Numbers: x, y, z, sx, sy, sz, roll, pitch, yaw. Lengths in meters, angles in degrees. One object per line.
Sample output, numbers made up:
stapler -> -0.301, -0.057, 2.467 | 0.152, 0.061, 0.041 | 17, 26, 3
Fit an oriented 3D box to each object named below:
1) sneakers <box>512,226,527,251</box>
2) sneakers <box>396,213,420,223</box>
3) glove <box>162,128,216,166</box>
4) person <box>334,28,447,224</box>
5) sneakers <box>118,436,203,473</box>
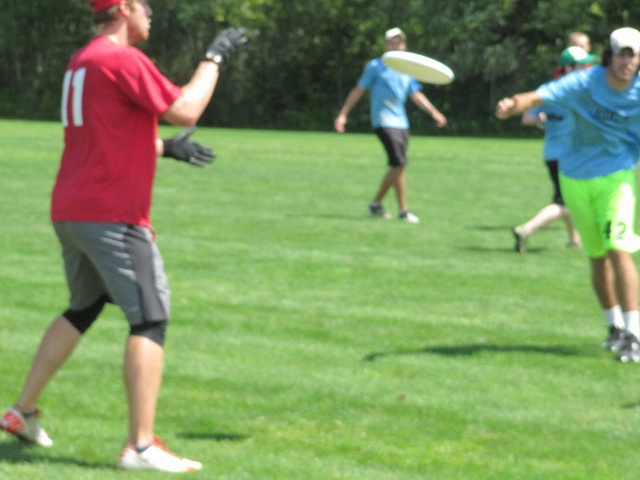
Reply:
sneakers -> 1.963, -0.034, 10.760 | 0.116, 0.257, 0.098 | 1, 18, 16
sneakers -> 1.009, -0.264, 12.453 | 0.199, 0.079, 0.109 | 15, 16, 42
glove -> -0.807, -0.563, 6.743 | 0.315, 0.212, 0.091 | 9, -21, -9
person -> 0.781, -1.164, 12.681 | 1.170, 1.793, 1.118 | 1, 16, 1
sneakers -> -0.948, 1.253, 6.491 | 0.522, 0.206, 0.173 | 2, -4, -5
